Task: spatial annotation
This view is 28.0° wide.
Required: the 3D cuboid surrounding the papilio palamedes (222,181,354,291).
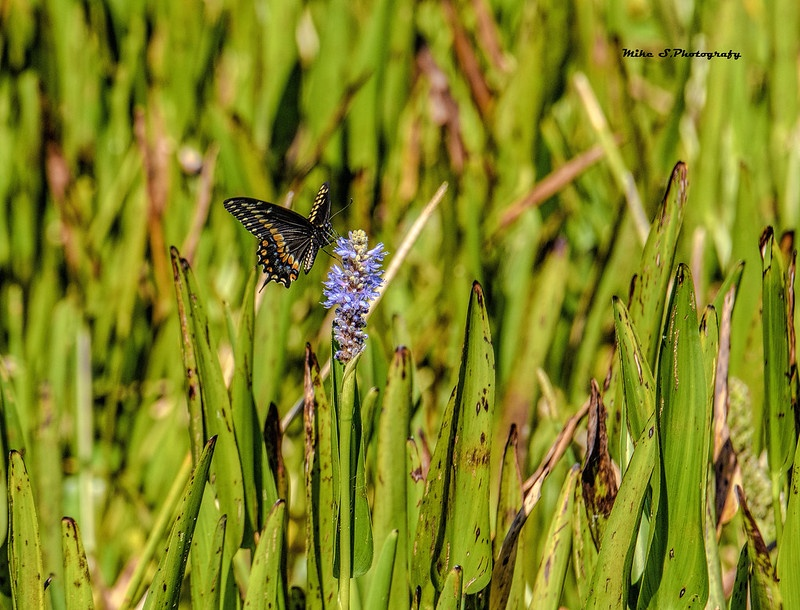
[{"bbox_3d":[-0.104,-0.064,1.481,0.081,0.093,0.081,-19,69,21],"label":"papilio palamedes"}]
